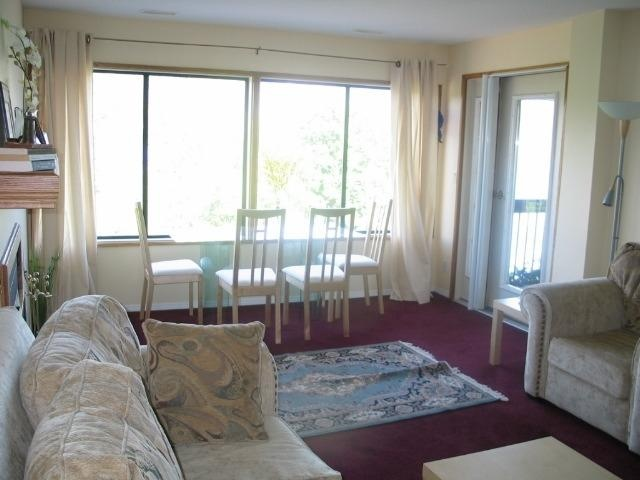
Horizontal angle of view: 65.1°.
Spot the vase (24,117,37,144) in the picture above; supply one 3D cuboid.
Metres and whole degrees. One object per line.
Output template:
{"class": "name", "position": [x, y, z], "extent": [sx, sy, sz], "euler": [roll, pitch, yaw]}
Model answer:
{"class": "vase", "position": [-1.675, -0.633, 2.883], "extent": [0.069, 0.146, 0.285], "euler": [-6, 14, -29]}
